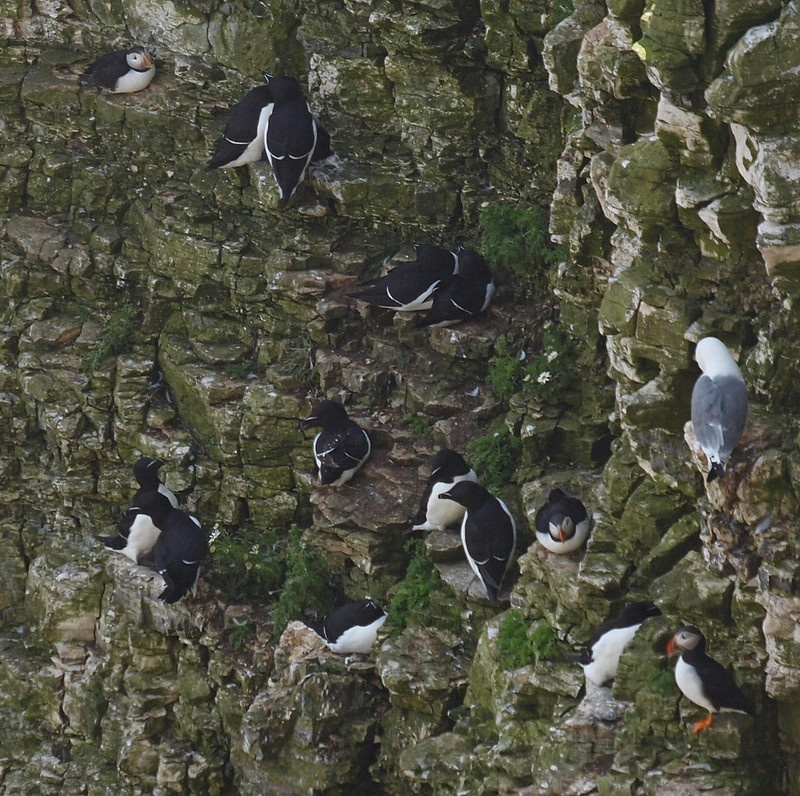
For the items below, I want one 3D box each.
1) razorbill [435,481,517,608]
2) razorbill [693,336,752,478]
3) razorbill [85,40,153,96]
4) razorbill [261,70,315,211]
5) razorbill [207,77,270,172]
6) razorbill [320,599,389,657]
[{"bbox_3d":[0.772,1.262,15.359,0.518,0.454,1.131,-20,77,38],"label":"razorbill"},{"bbox_3d":[2.346,0.088,12.415,0.342,0.616,1.090,-12,47,27],"label":"razorbill"},{"bbox_3d":[-3.020,-3.505,18.463,0.680,0.475,0.430,11,69,0],"label":"razorbill"},{"bbox_3d":[-1.305,-2.664,17.169,0.440,0.596,1.352,-25,31,24],"label":"razorbill"},{"bbox_3d":[-1.640,-2.858,17.786,0.837,0.568,0.430,-44,56,15],"label":"razorbill"},{"bbox_3d":[-0.379,2.130,16.271,0.632,0.468,0.396,8,46,13],"label":"razorbill"}]
